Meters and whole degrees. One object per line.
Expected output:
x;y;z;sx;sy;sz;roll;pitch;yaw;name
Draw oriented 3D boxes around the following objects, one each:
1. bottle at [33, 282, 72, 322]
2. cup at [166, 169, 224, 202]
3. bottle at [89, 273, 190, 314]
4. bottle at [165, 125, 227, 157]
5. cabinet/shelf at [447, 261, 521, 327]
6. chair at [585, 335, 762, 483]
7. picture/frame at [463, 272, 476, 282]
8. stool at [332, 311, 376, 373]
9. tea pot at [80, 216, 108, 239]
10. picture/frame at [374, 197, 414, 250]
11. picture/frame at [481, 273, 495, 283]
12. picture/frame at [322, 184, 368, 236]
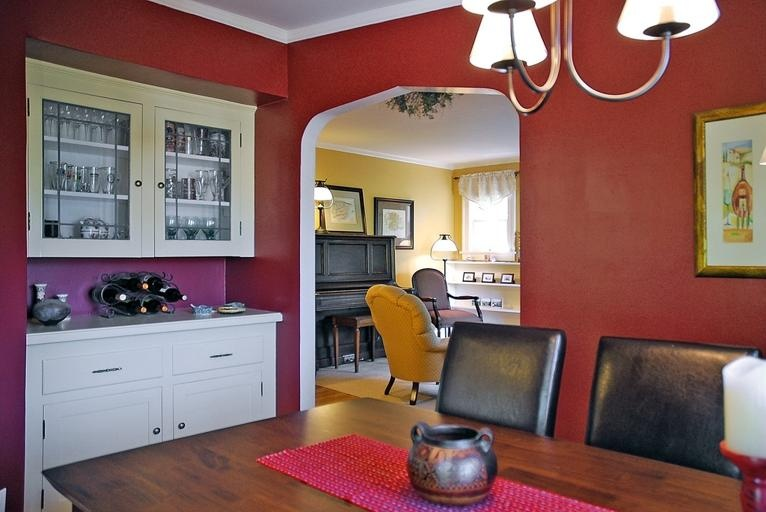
-2.007;0.263;3.341;0.246;0.239;0.248;1;1;14;bottle
-1.299;-0.501;3.865;0.325;0.222;0.170;-1;4;-17;cup
-1.645;0.252;3.669;0.340;0.158;0.433;-1;2;-43;bottle
-1.312;-0.809;3.867;0.374;0.243;0.198;2;-8;-45;bottle
1.443;0.517;7.673;0.944;0.862;0.246;-1;-4;33;cabinet/shelf
1.028;0.528;2.182;0.462;0.530;0.659;11;9;27;chair
1.331;0.318;8.456;0.134;0.114;0.050;-6;-20;39;picture/frame
-0.281;0.921;6.240;0.471;0.695;0.625;-1;-2;44;stool
-1.810;-0.165;3.451;0.146;0.129;0.108;-4;6;-26;tea pot
0.123;-0.462;7.682;0.785;0.732;0.057;3;-5;-44;picture/frame
1.583;0.325;8.272;0.149;0.127;0.012;1;-24;37;picture/frame
-0.520;-0.585;7.064;0.054;0.692;0.727;-10;-10;42;picture/frame
